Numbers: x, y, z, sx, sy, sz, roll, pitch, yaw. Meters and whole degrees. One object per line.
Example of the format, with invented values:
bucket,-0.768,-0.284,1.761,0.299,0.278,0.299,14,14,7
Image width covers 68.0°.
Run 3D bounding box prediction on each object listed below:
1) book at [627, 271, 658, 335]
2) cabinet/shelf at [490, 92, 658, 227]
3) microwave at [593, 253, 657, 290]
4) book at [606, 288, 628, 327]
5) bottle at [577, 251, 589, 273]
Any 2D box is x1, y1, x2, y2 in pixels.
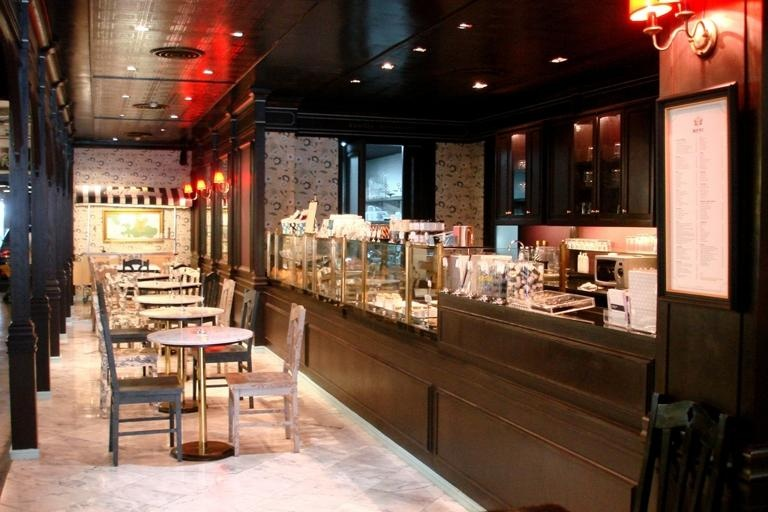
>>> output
book,1.458,0.251,3.224,0.133,0.340,0.229,2,5,19
cabinet/shelf,2.728,-1.385,8.020,0.324,1.124,2.320,-1,2,-28
microwave,2.339,0.146,5.569,0.366,0.295,0.483,1,1,-10
book,1.386,0.305,3.373,0.110,0.200,0.170,2,5,18
bottle,2.817,0.086,8.026,0.086,0.294,0.233,-1,5,-16
